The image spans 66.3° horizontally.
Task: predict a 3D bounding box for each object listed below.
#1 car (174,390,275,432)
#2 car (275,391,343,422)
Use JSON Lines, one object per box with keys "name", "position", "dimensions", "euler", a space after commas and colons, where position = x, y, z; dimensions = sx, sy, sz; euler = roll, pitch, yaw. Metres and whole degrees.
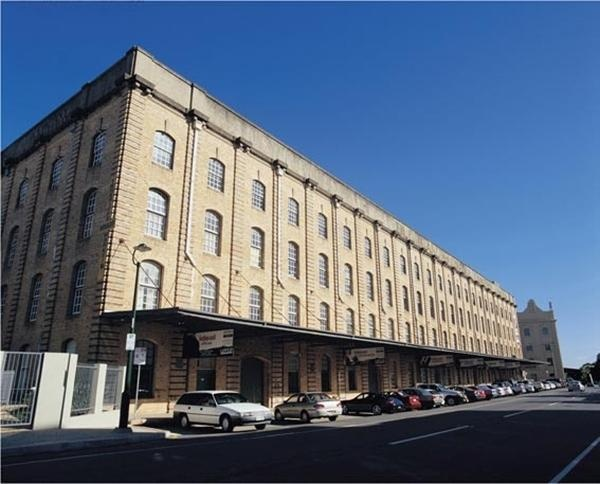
{"name": "car", "position": [-3.518, 7.389, 20.239], "dimensions": [3.916, 1.749, 1.525], "euler": [-18, -30, 31]}
{"name": "car", "position": [0.132, 9.017, 24.993], "dimensions": [3.979, 1.469, 1.881], "euler": [-21, -31, 36]}
